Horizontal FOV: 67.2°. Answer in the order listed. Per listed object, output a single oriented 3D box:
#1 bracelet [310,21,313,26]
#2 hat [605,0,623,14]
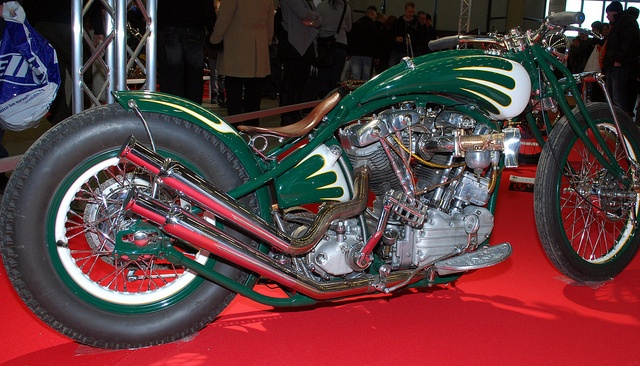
[{"bbox_3d":[-0.121,-2.195,6.628,0.041,0.045,0.013,-4,0,-24],"label":"bracelet"},{"bbox_3d":[5.338,-3.194,8.810,0.290,0.240,0.218,18,21,7],"label":"hat"}]
